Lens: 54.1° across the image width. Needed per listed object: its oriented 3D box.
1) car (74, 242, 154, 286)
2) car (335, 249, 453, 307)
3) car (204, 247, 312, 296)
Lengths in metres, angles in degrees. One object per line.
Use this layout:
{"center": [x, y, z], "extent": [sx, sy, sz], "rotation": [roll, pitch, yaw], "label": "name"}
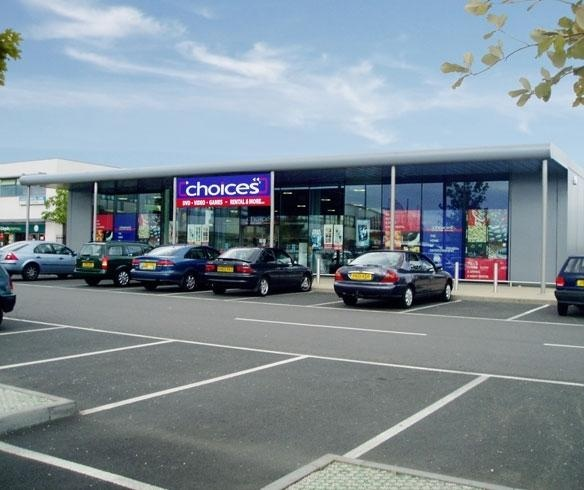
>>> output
{"center": [-6.495, 0.589, 20.781], "extent": [1.205, 1.059, 2.454], "rotation": [1, 4, 34], "label": "car"}
{"center": [3.021, 0.854, 15.648], "extent": [1.395, 1.015, 3.181], "rotation": [0, 2, 35], "label": "car"}
{"center": [-0.903, 0.857, 19.079], "extent": [1.678, 1.572, 4.096], "rotation": [1, 1, 37], "label": "car"}
